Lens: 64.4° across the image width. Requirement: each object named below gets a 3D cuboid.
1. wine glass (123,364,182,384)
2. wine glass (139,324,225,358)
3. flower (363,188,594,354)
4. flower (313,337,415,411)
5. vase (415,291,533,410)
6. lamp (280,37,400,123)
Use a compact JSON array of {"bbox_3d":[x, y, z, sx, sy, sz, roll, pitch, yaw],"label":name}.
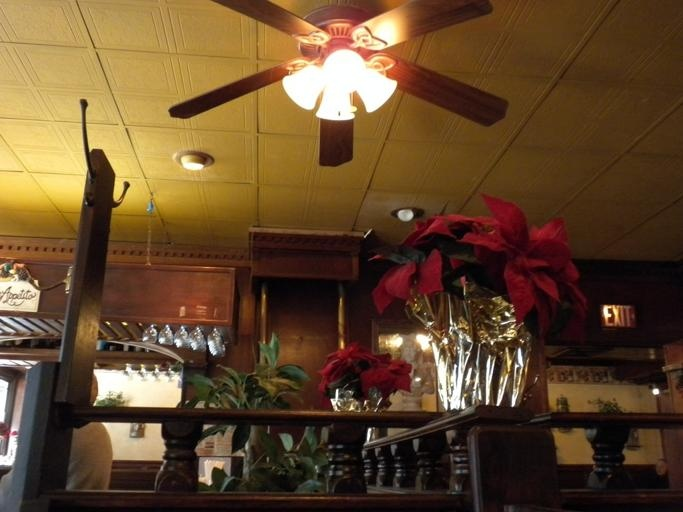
[{"bbox_3d":[-2.307,1.446,6.675,0.725,0.163,0.124,-4,-45,21],"label":"wine glass"},{"bbox_3d":[-1.445,0.777,5.031,0.867,0.323,0.172,5,-57,-12],"label":"wine glass"},{"bbox_3d":[0.281,0.028,1.095,0.434,0.277,0.213,2,-19,2],"label":"flower"},{"bbox_3d":[0.087,0.334,1.569,0.226,0.126,0.207,-4,-5,13],"label":"flower"},{"bbox_3d":[0.249,0.182,1.145,0.288,0.171,0.257,4,-24,2],"label":"vase"},{"bbox_3d":[0.020,-0.750,2.375,0.395,0.161,0.366,9,-19,-29],"label":"lamp"}]
